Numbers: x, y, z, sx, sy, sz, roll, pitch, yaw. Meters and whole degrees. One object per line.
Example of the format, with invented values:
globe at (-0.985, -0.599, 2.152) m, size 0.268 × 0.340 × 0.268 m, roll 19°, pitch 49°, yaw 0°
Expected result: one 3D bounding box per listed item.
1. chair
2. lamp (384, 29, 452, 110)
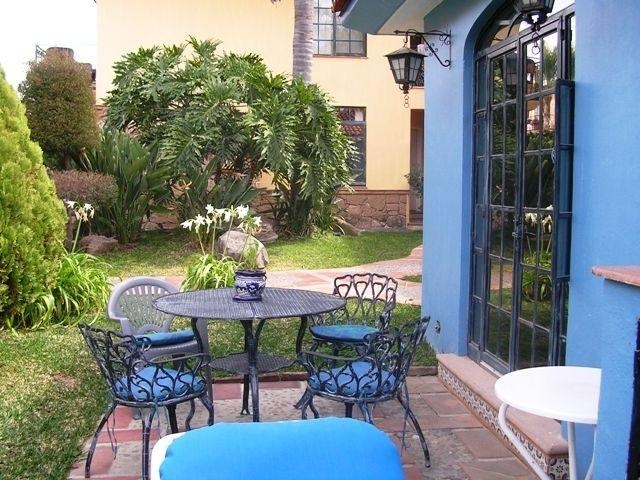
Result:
chair at (-0.629, 0.765, 3.560) m, size 1.549 × 0.869 × 1.779 m, roll -1°, pitch 6°, yaw -15°
lamp at (0.887, -1.559, 4.825) m, size 0.517 × 0.842 × 0.254 m, roll 3°, pitch -14°, yaw 7°
